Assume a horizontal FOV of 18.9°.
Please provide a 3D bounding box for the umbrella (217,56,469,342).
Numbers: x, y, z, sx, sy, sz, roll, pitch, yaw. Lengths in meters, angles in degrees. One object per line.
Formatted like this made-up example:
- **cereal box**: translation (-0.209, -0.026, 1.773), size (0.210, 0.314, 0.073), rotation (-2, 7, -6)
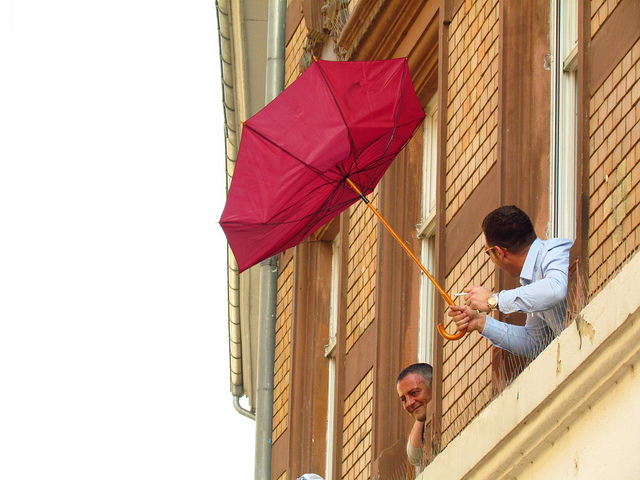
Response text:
- **umbrella**: translation (0.540, -0.111, 15.226), size (1.502, 1.652, 1.839), rotation (-23, 0, -44)

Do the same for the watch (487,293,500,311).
- **watch**: translation (1.220, 0.406, 13.327), size (0.068, 0.103, 0.109), rotation (-33, -11, -10)

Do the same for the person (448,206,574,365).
- **person**: translation (1.402, 0.338, 13.765), size (0.654, 0.921, 0.535), rotation (-32, -42, 4)
